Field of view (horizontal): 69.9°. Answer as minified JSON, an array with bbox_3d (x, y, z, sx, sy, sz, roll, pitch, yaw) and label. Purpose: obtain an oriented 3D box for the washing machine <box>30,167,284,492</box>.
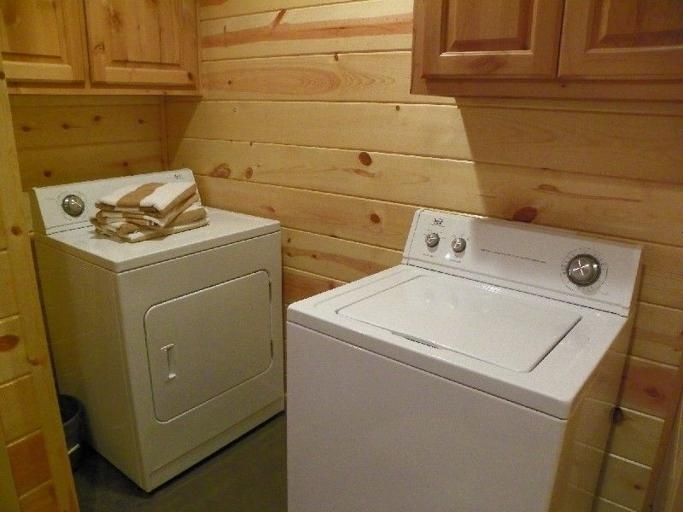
[{"bbox_3d":[-0.929,0.369,2.673,1.051,1.556,1.041,-11,22,-42],"label":"washing machine"}]
